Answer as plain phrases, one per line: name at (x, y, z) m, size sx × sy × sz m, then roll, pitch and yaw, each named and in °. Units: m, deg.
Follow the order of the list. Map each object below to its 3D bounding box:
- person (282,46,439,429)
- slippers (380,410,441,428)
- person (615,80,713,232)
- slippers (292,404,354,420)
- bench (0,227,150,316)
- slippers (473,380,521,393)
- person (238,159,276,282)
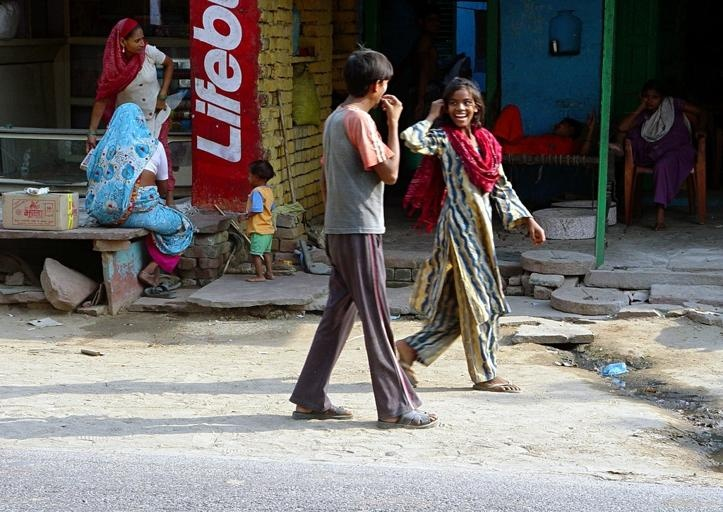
person at (0.049, -0.098, 5.456) m, size 0.948 × 2.504 × 0.455 m, roll 7°, pitch 14°, yaw 17°
slippers at (0.333, 1.094, 5.564) m, size 0.327 × 0.076 × 0.143 m, roll -1°, pitch 5°, yaw -1°
person at (3.762, -1.388, 10.540) m, size 1.223 × 1.470 × 1.094 m, roll -2°, pitch 18°, yaw 19°
slippers at (-0.244, 1.065, 5.724) m, size 0.387 × 0.074 × 0.124 m, roll 0°, pitch 5°, yaw -4°
bench at (-2.815, 0.201, 8.330) m, size 1.374 × 0.503 × 1.187 m, roll 2°, pitch 9°, yaw 5°
slippers at (1.034, 0.991, 6.369) m, size 0.289 × 0.051 × 0.119 m, roll -1°, pitch 1°, yaw 13°
person at (-1.116, -0.408, 9.240) m, size 0.346 × 1.305 × 0.737 m, roll 2°, pitch 12°, yaw -7°
